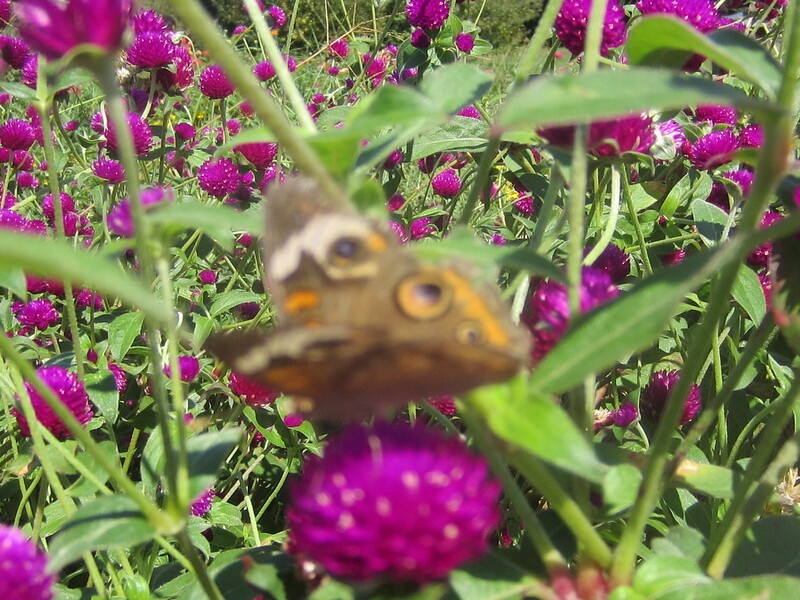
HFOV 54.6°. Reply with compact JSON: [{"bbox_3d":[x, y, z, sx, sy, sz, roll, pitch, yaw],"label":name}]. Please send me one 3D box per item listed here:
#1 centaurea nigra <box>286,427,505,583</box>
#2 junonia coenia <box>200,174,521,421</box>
[{"bbox_3d":[-0.010,0.276,1.041,0.286,0.168,0.171,-11,35,3],"label":"centaurea nigra"},{"bbox_3d":[-0.022,0.014,1.020,0.307,0.183,0.370,9,63,6],"label":"junonia coenia"}]
